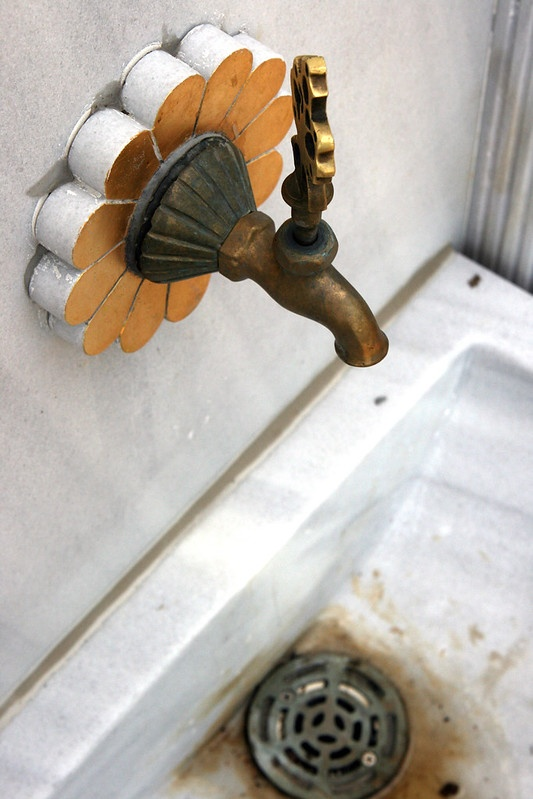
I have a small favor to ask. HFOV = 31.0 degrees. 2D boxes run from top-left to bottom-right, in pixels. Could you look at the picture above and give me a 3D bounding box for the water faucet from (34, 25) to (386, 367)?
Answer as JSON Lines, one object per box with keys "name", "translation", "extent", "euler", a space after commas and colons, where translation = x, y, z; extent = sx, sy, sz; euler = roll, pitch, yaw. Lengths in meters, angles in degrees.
{"name": "water faucet", "translation": [-0.045, -0.143, 0.647], "extent": [0.162, 0.210, 0.212], "euler": [34, 58, 15]}
